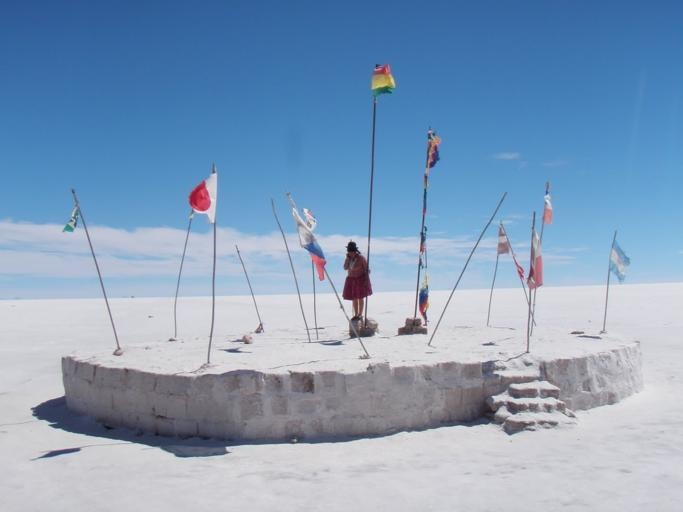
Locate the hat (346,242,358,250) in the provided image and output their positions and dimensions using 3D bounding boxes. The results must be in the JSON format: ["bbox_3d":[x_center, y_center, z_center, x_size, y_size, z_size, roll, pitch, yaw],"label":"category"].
[{"bbox_3d":[0.258,-0.245,15.166,0.232,0.269,0.623,0,4,0],"label":"hat"}]

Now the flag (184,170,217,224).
[{"bbox_3d":[-2.610,-1.141,11.716,0.474,0.999,0.928,-1,4,-14],"label":"flag"}]

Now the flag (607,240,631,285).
[{"bbox_3d":[6.898,0.133,15.490,0.419,1.014,1.086,2,4,23],"label":"flag"}]

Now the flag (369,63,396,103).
[{"bbox_3d":[1.028,-4.194,14.711,0.537,0.549,0.399,7,0,33],"label":"flag"}]

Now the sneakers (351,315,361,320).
[{"bbox_3d":[0.377,1.510,15.444,0.233,0.133,0.200,0,4,0],"label":"sneakers"}]

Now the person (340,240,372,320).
[{"bbox_3d":[0.397,0.615,15.437,0.700,2.018,1.127,0,4,0],"label":"person"}]
